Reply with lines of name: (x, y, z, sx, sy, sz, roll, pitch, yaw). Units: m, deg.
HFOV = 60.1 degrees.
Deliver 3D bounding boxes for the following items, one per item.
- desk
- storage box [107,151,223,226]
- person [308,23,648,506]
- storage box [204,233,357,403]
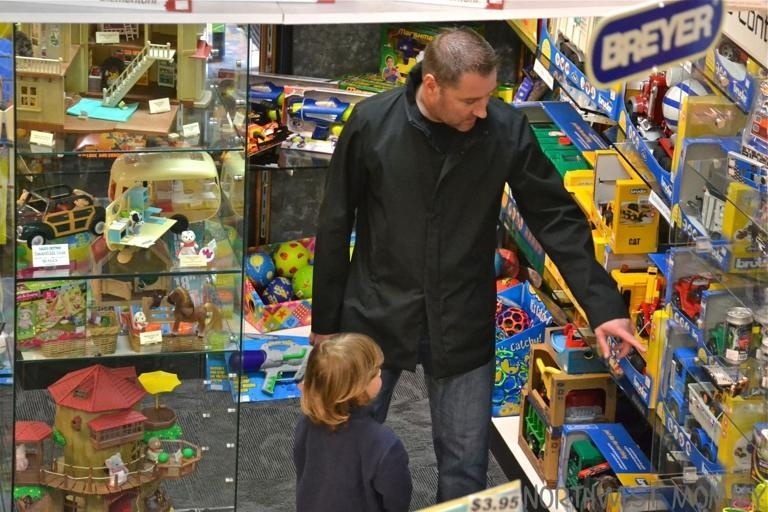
desk: (-0.789, -0.345, 5.493, 0.693, 0.659, 0.384, 0, -18, -3)
storage box: (-0.782, -0.260, 2.429, 0.350, 0.193, 0.242, -4, 37, -7)
person: (0.280, 0.069, 2.545, 1.116, 1.801, 0.416, -2, 12, -8)
storage box: (-0.517, 0.338, 3.242, 0.767, 0.193, 0.736, -6, 45, -4)
